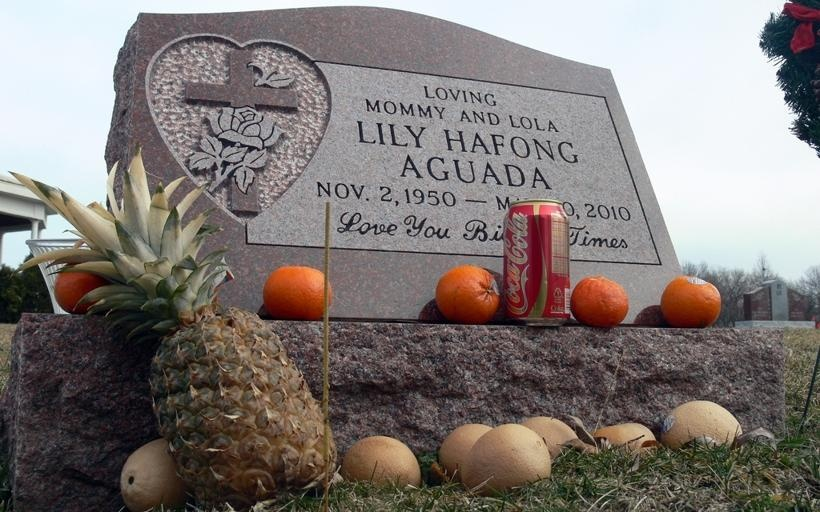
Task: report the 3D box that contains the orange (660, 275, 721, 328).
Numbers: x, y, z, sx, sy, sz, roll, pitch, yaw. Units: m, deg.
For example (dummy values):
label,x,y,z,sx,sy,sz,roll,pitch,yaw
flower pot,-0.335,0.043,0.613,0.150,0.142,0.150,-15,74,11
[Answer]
label,x,y,z,sx,sy,sz,roll,pitch,yaw
orange,2.430,0.380,6.253,0.360,0.473,0.418,1,1,18

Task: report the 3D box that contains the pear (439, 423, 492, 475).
label,x,y,z,sx,sy,sz,roll,pitch,yaw
pear,0.353,1.391,5.288,0.334,0.361,0.417,0,-12,-11

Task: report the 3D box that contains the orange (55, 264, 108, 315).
label,x,y,z,sx,sy,sz,roll,pitch,yaw
orange,-2.567,0.251,5.424,0.240,0.287,0.245,13,14,40

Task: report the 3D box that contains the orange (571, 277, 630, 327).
label,x,y,z,sx,sy,sz,roll,pitch,yaw
orange,1.539,0.397,5.908,0.401,0.382,0.401,10,-15,-7

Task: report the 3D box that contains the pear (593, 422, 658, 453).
label,x,y,z,sx,sy,sz,roll,pitch,yaw
pear,1.614,1.355,5.398,0.446,0.160,0.396,-3,-4,18
